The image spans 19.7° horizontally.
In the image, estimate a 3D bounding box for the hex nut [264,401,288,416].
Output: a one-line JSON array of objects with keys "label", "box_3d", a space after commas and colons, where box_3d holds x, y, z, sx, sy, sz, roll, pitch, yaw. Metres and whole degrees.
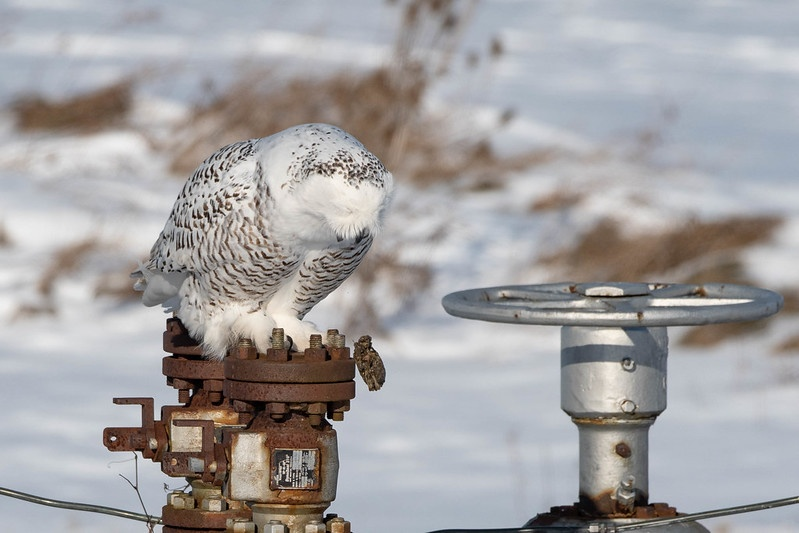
[{"label": "hex nut", "box_3d": [-0.951, 1.161, 18.877, 0.184, 0.146, 0.092, 5, 12, -2]}]
